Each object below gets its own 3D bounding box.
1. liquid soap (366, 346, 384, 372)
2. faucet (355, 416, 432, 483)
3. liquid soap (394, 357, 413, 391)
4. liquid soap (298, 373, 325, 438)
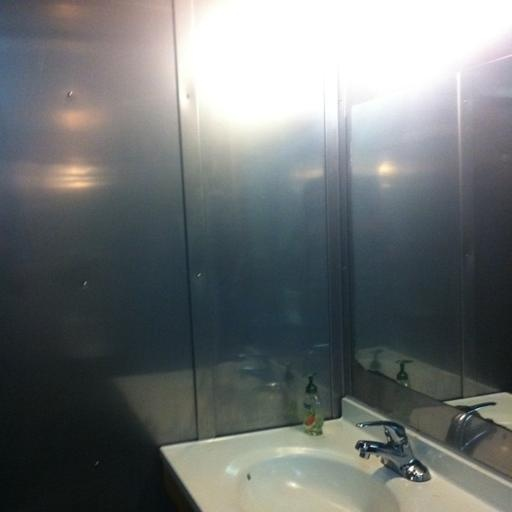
[{"bbox_3d":[0.400,0.342,1.722,0.057,0.057,0.110,-6,-79,-23],"label":"liquid soap"},{"bbox_3d":[0.395,0.539,1.416,0.197,0.113,0.143,3,-83,8],"label":"faucet"},{"bbox_3d":[0.450,0.355,1.533,0.064,0.050,0.098,3,-94,-20],"label":"liquid soap"},{"bbox_3d":[0.191,0.514,1.742,0.068,0.205,0.156,-4,-44,4],"label":"liquid soap"}]
